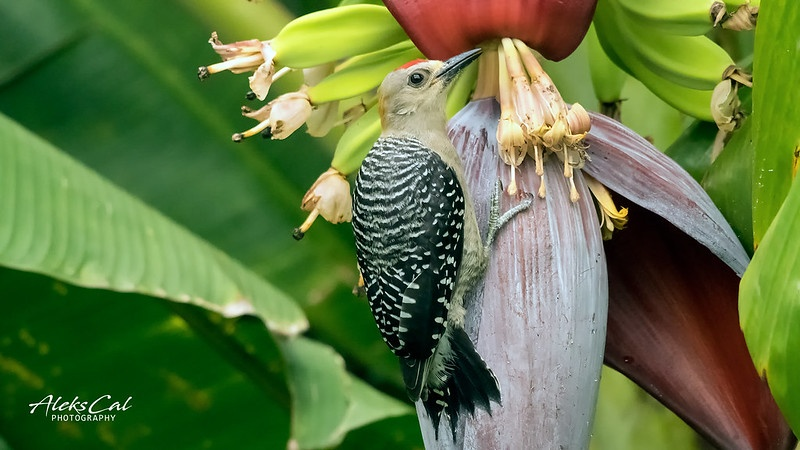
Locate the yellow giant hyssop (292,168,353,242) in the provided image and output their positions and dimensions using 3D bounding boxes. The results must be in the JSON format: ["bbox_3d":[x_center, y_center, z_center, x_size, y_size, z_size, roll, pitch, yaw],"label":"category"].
[{"bbox_3d":[-0.159,-0.060,2.063,0.122,0.203,0.090,1,0,0],"label":"yellow giant hyssop"}]

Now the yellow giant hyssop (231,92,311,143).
[{"bbox_3d":[-0.300,-0.247,2.072,0.200,0.088,0.083,-12,9,-30],"label":"yellow giant hyssop"}]
